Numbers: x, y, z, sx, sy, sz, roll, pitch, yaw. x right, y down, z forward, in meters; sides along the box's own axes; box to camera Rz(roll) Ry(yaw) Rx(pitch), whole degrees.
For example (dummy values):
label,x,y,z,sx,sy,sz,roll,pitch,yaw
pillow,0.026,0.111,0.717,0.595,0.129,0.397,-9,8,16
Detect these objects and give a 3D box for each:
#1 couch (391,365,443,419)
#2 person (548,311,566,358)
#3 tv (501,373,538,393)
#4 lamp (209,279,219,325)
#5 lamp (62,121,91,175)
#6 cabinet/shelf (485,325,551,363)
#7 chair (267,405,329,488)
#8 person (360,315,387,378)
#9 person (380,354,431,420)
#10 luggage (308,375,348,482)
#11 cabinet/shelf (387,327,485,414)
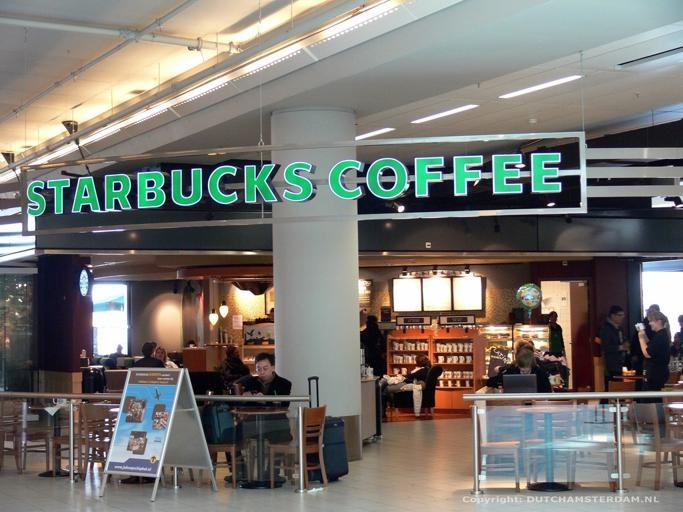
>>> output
label,x,y,z,sx,sy,sz,roll,pitch,yaw
couch,1.684,2.837,14.073,1.325,1.129,0.961,1,-8,2
person,4.699,1.704,14.502,0.294,0.993,0.692,-3,-8,17
tv,2.287,1.588,8.484,0.406,0.209,0.255,0,0,8
lamp,-3.387,1.252,17.608,0.326,1.224,0.320,3,-9,-26
lamp,-4.726,-1.938,11.754,0.492,1.168,1.375,3,-8,-23
cabinet/shelf,3.868,2.004,15.042,1.330,0.985,0.399,-1,-1,4
chair,-0.540,2.386,8.180,0.763,0.854,0.637,-5,-17,10
person,0.702,1.950,14.464,0.514,1.333,1.354,-1,-8,3
person,1.368,2.808,14.176,1.245,1.283,0.747,1,-8,-15
luggage,-0.191,2.241,8.515,0.497,1.223,0.613,-2,-7,19
cabinet/shelf,2.078,2.601,15.363,2.163,1.641,0.641,2,1,17
